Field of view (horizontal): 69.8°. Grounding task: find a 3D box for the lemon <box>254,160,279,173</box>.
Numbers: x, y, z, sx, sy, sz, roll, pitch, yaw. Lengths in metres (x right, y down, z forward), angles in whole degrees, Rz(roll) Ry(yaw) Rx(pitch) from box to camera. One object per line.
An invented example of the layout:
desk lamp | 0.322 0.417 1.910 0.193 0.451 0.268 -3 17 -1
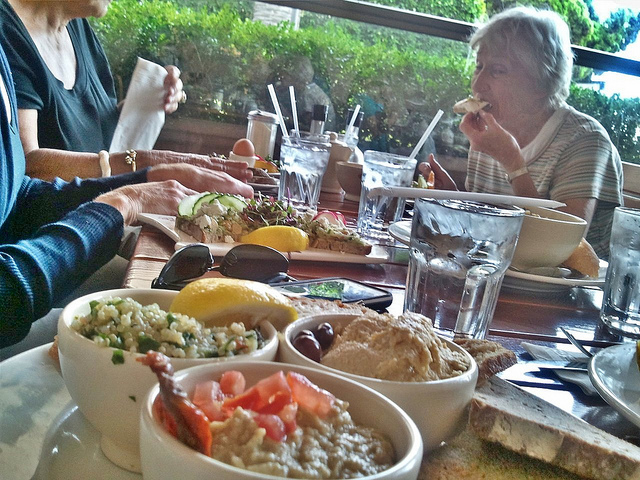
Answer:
lemon | -0.247 -0.339 2.121 0.102 0.043 0.118 9 17 -3

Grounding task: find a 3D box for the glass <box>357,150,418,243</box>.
glass | 0.183 -0.126 1.272 0.153 0.241 0.156 18 19 30

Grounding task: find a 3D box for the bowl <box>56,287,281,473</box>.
bowl | -0.144 0.106 0.490 0.175 0.110 0.176 19 4 -1

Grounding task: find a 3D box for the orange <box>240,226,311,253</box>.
orange | -0.095 0.002 0.908 0.111 0.054 0.053 4 -1 -1

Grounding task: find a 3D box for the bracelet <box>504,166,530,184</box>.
bracelet | 0.886 -0.297 2.085 0.101 0.052 0.103 -23 4 22

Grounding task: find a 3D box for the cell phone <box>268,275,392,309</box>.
cell phone | 0.010 0.077 0.675 0.183 0.018 0.100 3 7 -19

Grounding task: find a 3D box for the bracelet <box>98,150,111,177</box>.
bracelet | -0.780 -0.278 1.682 0.032 0.098 0.076 0 2 -11

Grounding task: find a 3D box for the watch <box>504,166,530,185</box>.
watch | 0.884 -0.284 2.088 0.092 0.050 0.092 -23 4 16

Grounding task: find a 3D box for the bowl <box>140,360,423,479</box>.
bowl | -0.033 0.136 0.353 0.141 0.050 0.132 14 8 -2

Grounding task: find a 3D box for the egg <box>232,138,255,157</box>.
egg | -0.364 -0.423 2.090 0.089 0.105 0.088 0 4 8

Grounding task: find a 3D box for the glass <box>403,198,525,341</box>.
glass | 0.193 0.043 0.653 0.149 0.185 0.148 9 10 -5
